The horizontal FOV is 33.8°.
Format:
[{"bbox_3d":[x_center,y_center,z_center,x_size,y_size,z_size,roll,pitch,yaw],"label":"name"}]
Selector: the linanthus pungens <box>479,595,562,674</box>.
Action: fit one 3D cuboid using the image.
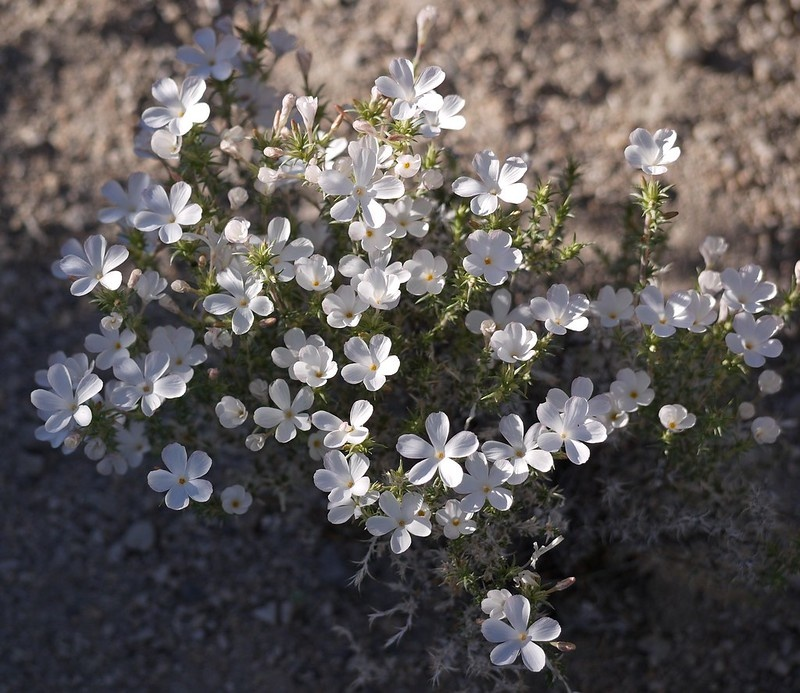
[{"bbox_3d":[0.544,1.304,5.884,0.425,0.463,0.116,-13,-70,16],"label":"linanthus pungens"}]
